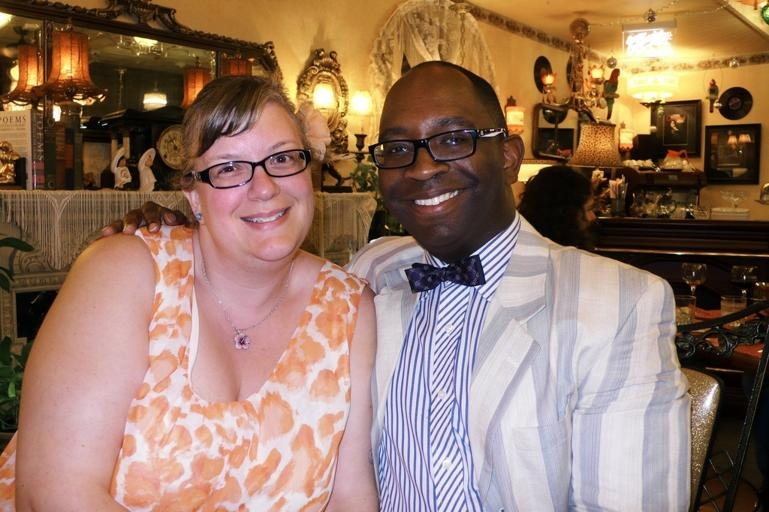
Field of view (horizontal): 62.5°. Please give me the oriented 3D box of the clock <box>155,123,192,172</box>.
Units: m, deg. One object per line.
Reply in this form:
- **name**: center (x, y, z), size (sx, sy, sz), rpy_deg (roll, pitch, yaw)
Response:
- **clock**: center (-1.633, -0.864, 4.933), size (0.329, 0.323, 0.077), rpy_deg (-13, 1, 29)

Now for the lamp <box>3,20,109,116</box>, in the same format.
- **lamp**: center (-2.237, -1.257, 4.413), size (0.969, 0.623, 0.515), rpy_deg (1, 4, 26)

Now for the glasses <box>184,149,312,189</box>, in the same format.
- **glasses**: center (-0.467, -0.313, 2.229), size (0.415, 0.146, 0.100), rpy_deg (-1, 7, -16)

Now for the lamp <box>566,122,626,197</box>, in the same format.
- **lamp**: center (2.220, -1.068, 6.533), size (0.538, 0.703, 0.525), rpy_deg (-3, 17, 3)

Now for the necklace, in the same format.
- **necklace**: center (-0.538, 0.232, 2.412), size (0.286, 0.068, 0.280), rpy_deg (5, 38, -22)

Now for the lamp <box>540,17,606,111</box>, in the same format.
- **lamp**: center (2.396, -2.382, 7.884), size (0.851, 1.079, 0.848), rpy_deg (3, 10, 29)
